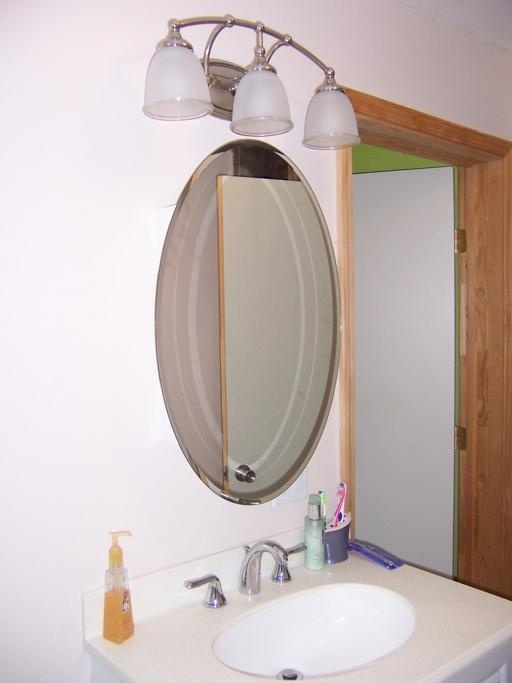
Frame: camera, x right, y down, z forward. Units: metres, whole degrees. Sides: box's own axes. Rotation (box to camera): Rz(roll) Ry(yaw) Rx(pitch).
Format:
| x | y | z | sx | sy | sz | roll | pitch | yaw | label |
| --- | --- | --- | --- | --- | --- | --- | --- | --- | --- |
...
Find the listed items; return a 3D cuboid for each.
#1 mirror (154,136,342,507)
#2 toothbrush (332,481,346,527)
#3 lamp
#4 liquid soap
| x | y | z | sx | sy | sz | roll | pitch | yaw | label |
| --- | --- | --- | --- | --- | --- | --- | --- | --- | --- |
| -0.004 | -0.041 | 1.272 | 0.494 | 0.783 | 0.052 | -2 | 6 | -43 | mirror |
| 0.195 | 0.407 | 1.425 | 0.036 | 0.134 | 0.031 | -12 | 21 | -36 | toothbrush |
| -0.020 | -0.491 | 1.120 | 0.415 | 0.179 | 0.158 | 1 | -1 | -42 | lamp |
| -0.233 | 0.416 | 1.028 | 0.070 | 0.191 | 0.063 | -2 | 5 | -41 | liquid soap |
